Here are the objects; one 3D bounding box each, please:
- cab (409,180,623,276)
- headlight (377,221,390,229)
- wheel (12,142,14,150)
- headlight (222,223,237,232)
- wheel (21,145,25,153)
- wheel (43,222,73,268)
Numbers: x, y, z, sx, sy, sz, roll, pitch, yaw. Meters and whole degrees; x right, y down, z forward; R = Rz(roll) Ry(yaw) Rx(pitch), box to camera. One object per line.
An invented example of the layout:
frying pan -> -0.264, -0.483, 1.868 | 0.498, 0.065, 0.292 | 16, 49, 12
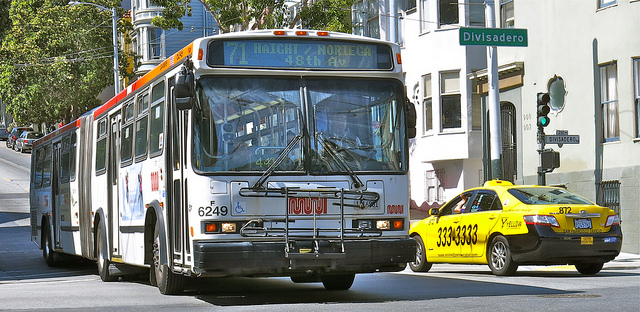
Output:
cab -> 6.288, 2.733, 33.058 | 3.733, 2.435, 7.733 | 3, -4, -33
headlight -> 2.053, 2.215, 27.727 | 0.460, 0.250, 0.225 | 2, 1, 1
wheel -> -30.632, -0.959, 85.326 | 0.125, 0.585, 1.271 | 1, -4, -19
headlight -> -2.924, 2.253, 27.202 | 0.383, 0.287, 0.083 | 2, -1, -4
wheel -> -28.420, -0.694, 81.743 | 0.289, 0.621, 1.557 | 1, -4, -19
wheel -> -12.289, 3.798, 37.841 | 1.368, 2.066, 2.518 | 0, -2, -19
